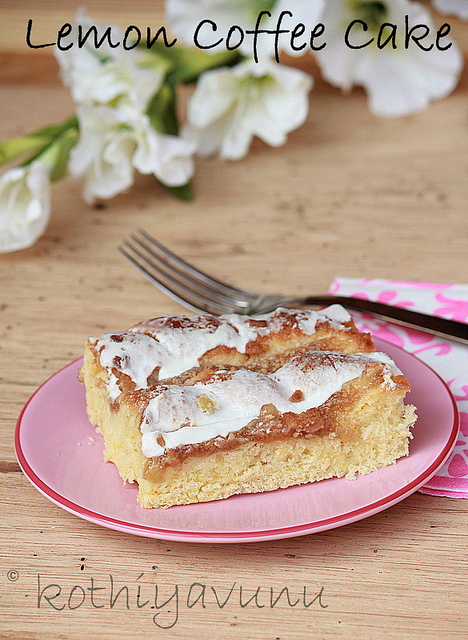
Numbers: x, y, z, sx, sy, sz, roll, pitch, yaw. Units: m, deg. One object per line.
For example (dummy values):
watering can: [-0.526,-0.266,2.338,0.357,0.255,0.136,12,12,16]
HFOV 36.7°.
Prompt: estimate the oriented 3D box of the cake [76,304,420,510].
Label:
cake: [0.011,0.097,1.061,0.549,0.129,0.492,2,25,19]
